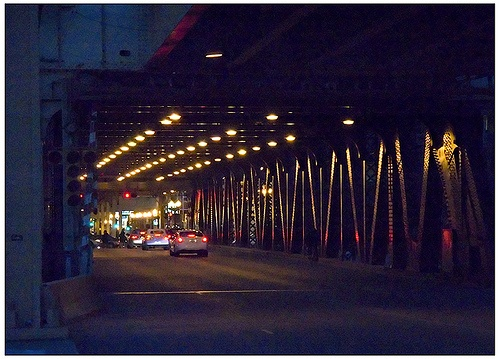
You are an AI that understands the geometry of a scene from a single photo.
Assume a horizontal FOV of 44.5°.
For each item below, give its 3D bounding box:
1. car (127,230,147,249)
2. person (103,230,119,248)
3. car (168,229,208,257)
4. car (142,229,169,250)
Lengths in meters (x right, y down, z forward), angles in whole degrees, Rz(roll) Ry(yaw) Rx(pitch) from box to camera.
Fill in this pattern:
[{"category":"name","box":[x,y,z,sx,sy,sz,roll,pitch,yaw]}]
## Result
[{"category":"car","box":[-12.892,6.739,69.927,1.815,1.337,3.977,1,-1,-9]},{"category":"person","box":[-17.372,7.468,75.914,1.581,1.084,2.528,1,1,-26]},{"category":"car","box":[-4.305,4.631,44.716,1.682,1.915,3.884,2,-4,-41]},{"category":"car","box":[-9.201,5.970,60.417,2.349,1.713,5.252,0,-1,-9]}]
